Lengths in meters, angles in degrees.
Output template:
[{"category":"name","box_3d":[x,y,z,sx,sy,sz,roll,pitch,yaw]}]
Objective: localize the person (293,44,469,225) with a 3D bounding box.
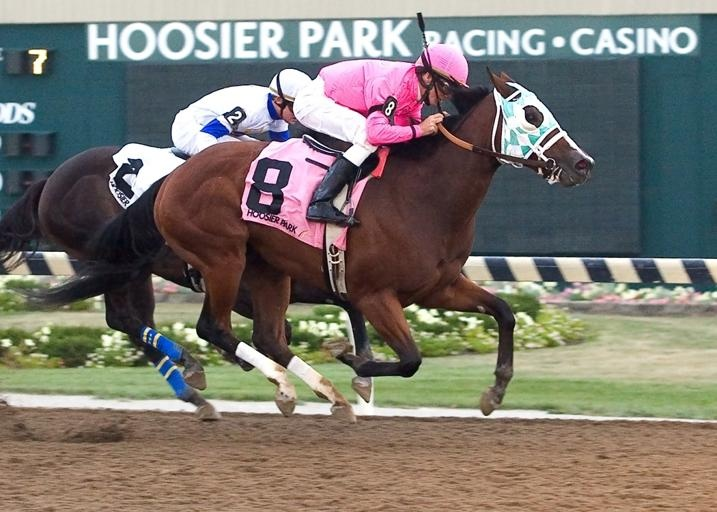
[{"category":"person","box_3d":[0.191,-0.740,7.137,1.074,0.970,0.688,9,14,28]}]

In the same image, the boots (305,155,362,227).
[{"category":"boots","box_3d":[-0.130,-0.373,6.851,0.275,0.363,0.138,0,11,2]}]

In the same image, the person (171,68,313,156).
[{"category":"person","box_3d":[-0.720,-0.846,7.788,0.678,0.424,0.885,-1,1,-41]}]

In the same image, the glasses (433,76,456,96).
[{"category":"glasses","box_3d":[0.487,-0.963,6.930,0.135,0.063,0.088,19,3,21]}]

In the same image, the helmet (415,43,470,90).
[{"category":"helmet","box_3d":[0.508,-1.090,6.978,0.327,0.166,0.207,22,11,-6]}]
